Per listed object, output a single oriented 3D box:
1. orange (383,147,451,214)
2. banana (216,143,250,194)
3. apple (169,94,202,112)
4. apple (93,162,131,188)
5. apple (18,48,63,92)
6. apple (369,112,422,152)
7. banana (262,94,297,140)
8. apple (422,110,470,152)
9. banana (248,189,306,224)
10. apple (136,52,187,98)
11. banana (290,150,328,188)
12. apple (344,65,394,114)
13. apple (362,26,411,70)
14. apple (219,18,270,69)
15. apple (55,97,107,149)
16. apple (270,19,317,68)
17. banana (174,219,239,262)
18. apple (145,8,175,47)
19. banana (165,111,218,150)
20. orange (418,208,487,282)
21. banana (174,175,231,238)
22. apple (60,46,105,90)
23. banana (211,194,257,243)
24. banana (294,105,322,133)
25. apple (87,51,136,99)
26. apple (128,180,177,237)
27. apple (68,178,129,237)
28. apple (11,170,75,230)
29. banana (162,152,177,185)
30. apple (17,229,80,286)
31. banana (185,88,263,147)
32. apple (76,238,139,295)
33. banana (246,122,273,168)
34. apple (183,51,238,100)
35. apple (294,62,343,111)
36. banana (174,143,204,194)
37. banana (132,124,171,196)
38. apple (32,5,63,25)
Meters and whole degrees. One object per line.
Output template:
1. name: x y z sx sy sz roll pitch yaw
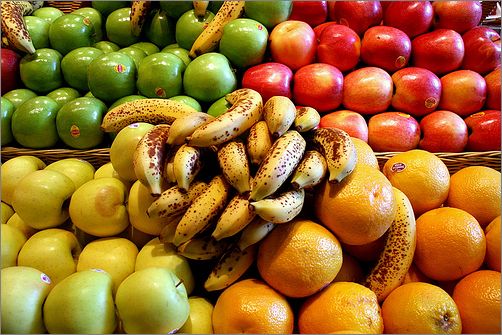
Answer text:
1. orange: 0.802 0.053 2.045 0.264 0.304 0.312 -1 86 23
2. banana: -0.065 -0.014 1.908 0.082 0.109 0.234 18 39 -37
3. apple: -0.362 -0.376 2.409 0.138 0.122 0.125 6 107 31
4. apple: -0.706 0.014 2.200 0.173 0.147 0.154 5 90 -22
5. apple: -1.285 -0.589 2.652 0.235 0.243 0.267 -3 100 -34
6. apple: 0.823 -0.186 2.458 0.265 0.235 0.247 1 76 1
7. banana: 0.125 -0.230 1.907 0.113 0.065 0.199 -6 46 28
8. apple: 1.153 -0.194 2.543 0.281 0.299 0.305 -5 89 21
9. banana: 0.146 0.125 1.864 0.341 0.113 0.100 -26 108 -44
10. apple: -0.511 -0.539 2.563 0.284 0.250 0.267 -9 107 -4
11. banana: 0.257 0.029 1.878 0.115 0.098 0.168 50 55 -26
12. apple: 0.687 -0.459 2.534 0.247 0.286 0.257 11 37 17
13. apple: 0.795 -0.700 2.511 0.287 0.154 0.204 21 68 8
14. apple: -0.027 -0.690 2.435 0.249 0.256 0.263 1 101 -6
15. apple: -0.979 -0.266 2.464 0.280 0.170 0.272 3 67 1
16. apple: 0.281 -0.732 2.538 0.235 0.246 0.241 -3 19 29
17. banana: -0.200 0.341 1.973 0.288 0.097 0.094 -20 87 -25
18. apple: -0.565 -0.915 2.841 0.190 0.249 0.195 -16 34 -21
19. banana: -0.276 -0.184 2.015 0.239 0.113 0.141 -32 64 -17
20. orange: 0.876 0.331 2.019 0.296 0.325 0.325 -3 100 1
21. banana: -0.201 0.184 1.916 0.117 0.121 0.410 39 66 -17
22. apple: -1.019 -0.604 2.668 0.275 0.243 0.260 -2 80 -7
23. banana: -0.069 0.215 1.810 0.223 0.079 0.111 -50 39 -8
24. banana: 0.261 -0.221 1.998 0.092 0.068 0.128 -2 85 -2
25. apple: -0.811 -0.505 2.533 0.267 0.260 0.267 -8 64 -34
26. apple: -0.423 0.210 2.054 0.206 0.267 0.221 1 69 14
27. apple: -0.717 0.181 2.132 0.271 0.262 0.275 -7 113 -5
28. apple: -0.985 0.130 2.146 0.270 0.269 0.292 13 105 -7
29. banana: -0.362 0.008 1.917 0.050 0.042 0.164 10 68 -20
30. apple: -0.963 0.382 2.087 0.234 0.243 0.259 10 108 -9
31. banana: -0.095 -0.199 1.901 0.217 0.116 0.420 15 37 29
32. apple: -0.641 0.403 2.047 0.208 0.232 0.226 30 98 -2
33. banana: 0.045 -0.112 1.960 0.090 0.086 0.198 14 59 -6
34. apple: -0.235 -0.476 2.516 0.291 0.258 0.281 -11 88 -8
35. apple: 0.414 -0.455 2.480 0.242 0.271 0.261 2 29 20
36. banana: -0.271 -0.001 1.914 0.093 0.075 0.201 1 58 10
37. banana: -0.436 -0.025 1.922 0.146 0.110 0.354 16 49 -22
38. apple: -1.368 -1.045 2.898 0.179 0.155 0.166 -3 81 -21
